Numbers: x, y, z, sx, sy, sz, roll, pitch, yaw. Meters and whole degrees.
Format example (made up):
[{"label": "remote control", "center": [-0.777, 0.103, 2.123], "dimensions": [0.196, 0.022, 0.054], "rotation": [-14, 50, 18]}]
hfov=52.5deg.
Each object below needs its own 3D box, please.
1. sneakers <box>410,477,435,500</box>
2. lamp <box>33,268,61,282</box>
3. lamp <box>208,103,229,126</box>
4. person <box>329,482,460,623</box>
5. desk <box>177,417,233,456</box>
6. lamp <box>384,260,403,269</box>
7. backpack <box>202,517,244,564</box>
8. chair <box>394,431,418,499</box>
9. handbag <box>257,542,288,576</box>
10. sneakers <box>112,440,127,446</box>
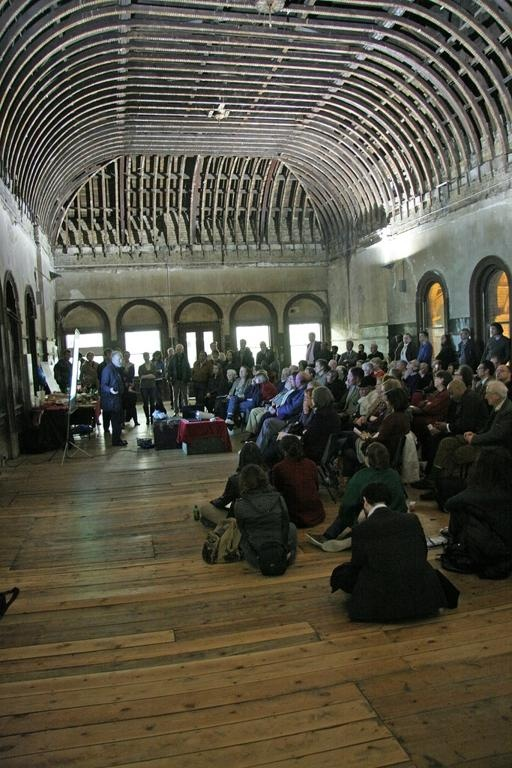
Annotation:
[{"label": "sneakers", "center": [1.970, 1.241, 6.129], "dimensions": [0.443, 0.179, 0.137], "rotation": [5, -5, -33]}, {"label": "lamp", "center": [-6.891, -3.554, 16.667], "dimensions": [1.139, 0.366, 1.144], "rotation": [-5, 5, -20]}, {"label": "lamp", "center": [-0.948, -7.041, 13.488], "dimensions": [0.368, 0.168, 0.369], "rotation": [7, -15, -25]}, {"label": "person", "center": [0.817, 1.023, 3.226], "dimensions": [0.634, 0.787, 0.469], "rotation": [-1, -12, -11]}, {"label": "desk", "center": [-0.993, 0.929, 9.687], "dimensions": [0.699, 0.474, 0.712], "rotation": [0, -3, -21]}, {"label": "lamp", "center": [4.241, -3.726, 16.025], "dimensions": [0.406, 0.124, 0.440], "rotation": [6, -16, -32]}, {"label": "backpack", "center": [-0.310, 1.337, 4.420], "dimensions": [0.397, 0.422, 0.295], "rotation": [7, -10, -22]}, {"label": "chair", "center": [1.736, 0.938, 6.223], "dimensions": [0.274, 0.638, 0.261], "rotation": [12, -31, 13]}, {"label": "handbag", "center": [0.130, 1.328, 3.922], "dimensions": [0.230, 0.229, 0.225], "rotation": [0, 26, -20]}, {"label": "sneakers", "center": [-2.787, 1.206, 10.623], "dimensions": [0.295, 0.130, 0.102], "rotation": [-1, 4, -7]}]
